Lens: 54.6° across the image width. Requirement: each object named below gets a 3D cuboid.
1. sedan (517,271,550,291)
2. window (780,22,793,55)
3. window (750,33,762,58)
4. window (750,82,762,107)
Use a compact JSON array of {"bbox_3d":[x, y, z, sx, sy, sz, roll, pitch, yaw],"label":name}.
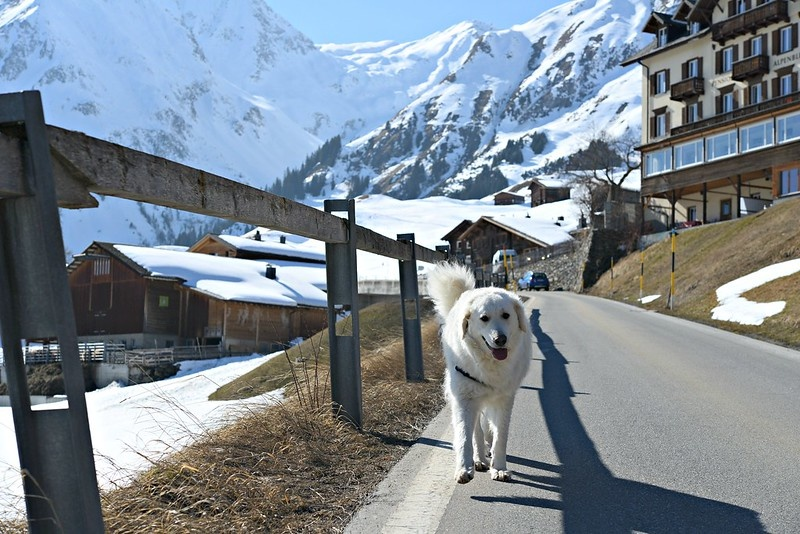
[{"bbox_3d":[9.827,1.078,56.982,1.075,1.108,2.079,2,3,-4],"label":"sedan"},{"bbox_3d":[21.983,-12.873,44.108,0.216,1.414,1.112,1,5,-10],"label":"window"},{"bbox_3d":[21.090,-13.035,45.916,0.300,1.060,0.965,0,5,-21],"label":"window"},{"bbox_3d":[20.985,-10.199,45.720,0.306,1.127,0.983,1,5,-13],"label":"window"}]
